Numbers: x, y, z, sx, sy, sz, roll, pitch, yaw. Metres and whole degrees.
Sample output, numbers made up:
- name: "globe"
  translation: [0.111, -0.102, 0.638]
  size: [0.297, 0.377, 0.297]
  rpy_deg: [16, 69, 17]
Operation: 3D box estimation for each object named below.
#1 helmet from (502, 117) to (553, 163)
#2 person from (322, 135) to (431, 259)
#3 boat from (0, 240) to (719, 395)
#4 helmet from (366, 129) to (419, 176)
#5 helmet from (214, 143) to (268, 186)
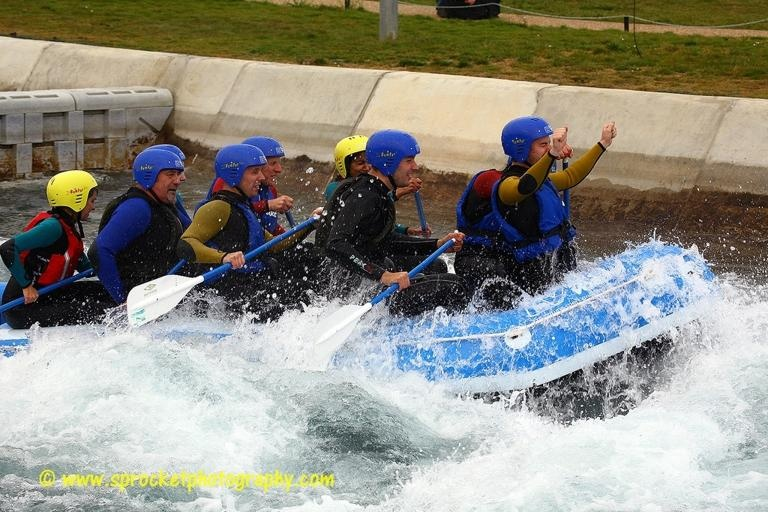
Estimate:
- name: "helmet"
  translation: [1.387, -1.185, 10.534]
  size: [0.503, 0.398, 0.381]
  rpy_deg: [4, 24, 19]
- name: "person"
  translation: [-0.127, -0.686, 10.960]
  size: [1.022, 0.988, 0.726]
  rpy_deg: [-2, 5, 9]
- name: "boat"
  translation: [0.531, 0.748, 10.205]
  size: [5.082, 0.820, 2.417]
  rpy_deg: [-5, 0, 9]
- name: "helmet"
  translation: [0.097, -1.008, 10.175]
  size: [0.532, 0.418, 0.372]
  rpy_deg: [4, 27, 13]
- name: "helmet"
  translation: [-1.347, -0.899, 10.400]
  size: [0.466, 0.351, 0.335]
  rpy_deg: [-3, 5, 1]
